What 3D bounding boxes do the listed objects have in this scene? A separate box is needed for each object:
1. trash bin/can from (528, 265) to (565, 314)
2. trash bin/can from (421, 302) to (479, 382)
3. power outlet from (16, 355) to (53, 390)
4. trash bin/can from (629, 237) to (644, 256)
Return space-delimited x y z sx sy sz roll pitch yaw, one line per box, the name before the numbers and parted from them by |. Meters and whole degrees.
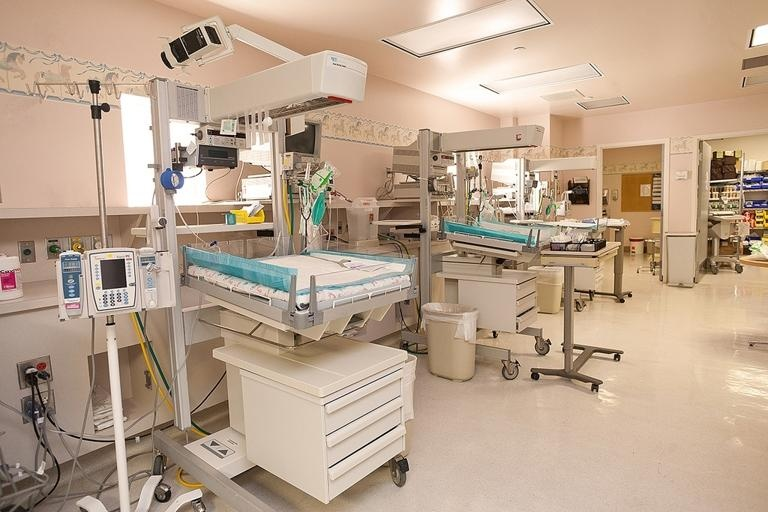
trash bin/can | 2.335 0.503 6.963 0.464 0.561 0.501 13 -8 -36
trash bin/can | 0.660 0.839 4.923 0.739 0.755 0.513 1 4 37
power outlet | -2.458 0.817 3.558 0.094 0.185 0.196 4 12 40
trash bin/can | 6.086 -0.237 12.061 0.379 0.380 0.383 3 11 37
